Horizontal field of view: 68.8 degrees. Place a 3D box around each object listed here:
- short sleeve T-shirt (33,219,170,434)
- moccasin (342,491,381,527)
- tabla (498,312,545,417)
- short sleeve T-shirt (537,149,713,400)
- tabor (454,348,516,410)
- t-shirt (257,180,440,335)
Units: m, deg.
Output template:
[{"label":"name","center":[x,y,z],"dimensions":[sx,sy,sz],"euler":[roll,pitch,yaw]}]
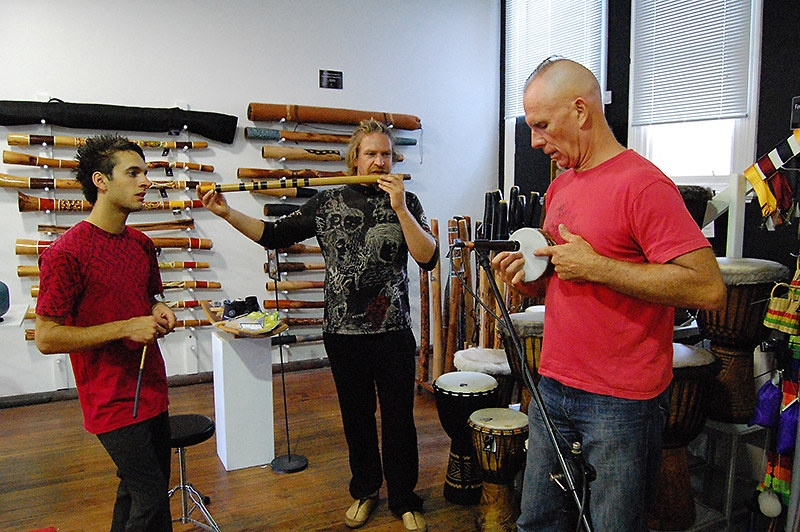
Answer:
[{"label":"short sleeve T-shirt","center":[-1.533,0.303,3.125],"dimensions":[0.664,1.067,0.507],"euler":[-13,18,-41]},{"label":"moccasin","center":[-0.243,1.622,3.894],"dimensions":[0.116,0.106,0.266],"euler":[1,3,25]},{"label":"tabla","center":[0.857,0.714,3.879],"dimensions":[0.365,0.621,0.365],"euler":[4,-12,-3]},{"label":"short sleeve T-shirt","center":[1.009,0.027,2.695],"dimensions":[0.714,1.098,0.375],"euler":[5,15,22]},{"label":"tabor","center":[0.655,0.833,4.454],"dimensions":[0.412,0.363,0.430],"euler":[0,2,-1]},{"label":"t-shirt","center":[-0.448,-0.054,4.332],"dimensions":[1.629,1.279,0.594],"euler":[0,-1,-14]}]
